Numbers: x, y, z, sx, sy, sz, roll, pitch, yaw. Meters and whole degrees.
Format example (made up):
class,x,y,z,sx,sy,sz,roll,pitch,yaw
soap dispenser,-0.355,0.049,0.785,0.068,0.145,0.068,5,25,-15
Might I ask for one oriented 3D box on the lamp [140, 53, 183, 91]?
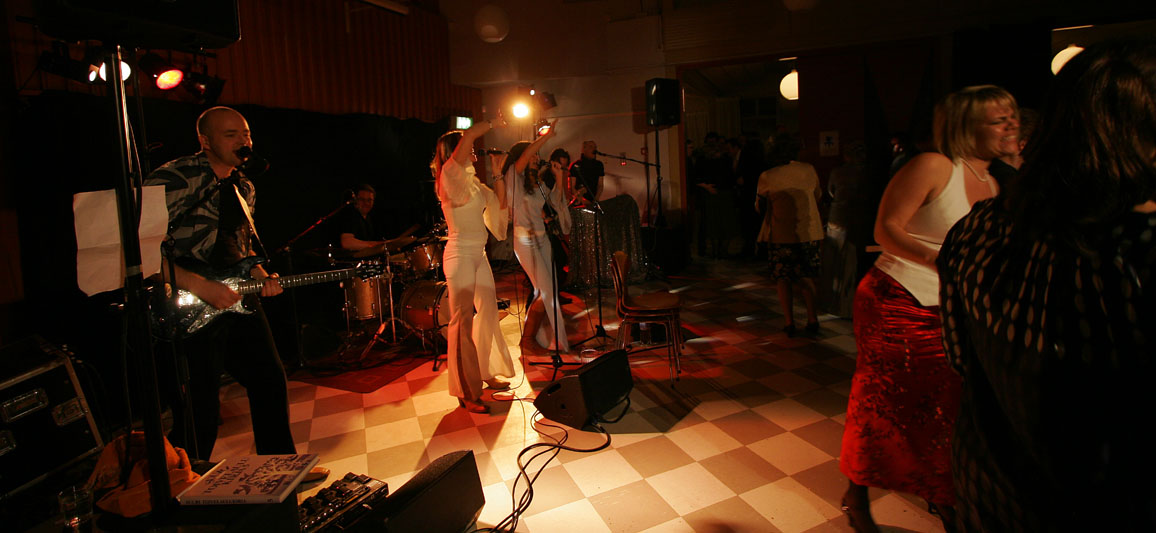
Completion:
class,x,y,z,sx,sy,sz,roll,pitch,yaw
lamp,-4.769,-2.260,8.409,0.447,0.386,0.240,-11,15,-20

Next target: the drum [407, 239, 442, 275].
class,x,y,z,sx,sy,sz,roll,pitch,yaw
drum,-2.067,-0.132,9.976,0.485,0.382,0.457,-3,-6,0

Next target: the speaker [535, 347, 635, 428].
class,x,y,z,sx,sy,sz,roll,pitch,yaw
speaker,0.156,1.430,8.525,0.957,0.696,1.165,4,2,31

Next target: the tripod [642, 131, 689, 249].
class,x,y,z,sx,sy,sz,roll,pitch,yaw
tripod,1.550,-1.391,13.126,0.702,2.187,0.851,0,16,23

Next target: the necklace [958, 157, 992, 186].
class,x,y,z,sx,sy,sz,roll,pitch,yaw
necklace,3.695,-0.870,6.904,0.237,0.066,0.279,-5,40,-48

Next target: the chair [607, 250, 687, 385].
class,x,y,z,sx,sy,sz,roll,pitch,yaw
chair,0.887,0.542,9.408,0.839,1.582,1.148,-5,14,5

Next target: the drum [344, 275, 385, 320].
class,x,y,z,sx,sy,sz,roll,pitch,yaw
drum,-2.880,0.427,10.069,0.666,0.543,0.624,-3,0,14

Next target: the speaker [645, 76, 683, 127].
class,x,y,z,sx,sy,sz,roll,pitch,yaw
speaker,1.356,-2.625,11.646,0.561,0.757,0.417,-5,15,4

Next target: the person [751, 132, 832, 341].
class,x,y,z,sx,sy,sz,roll,pitch,yaw
person,2.927,-0.439,10.112,0.839,2.713,0.979,-3,16,13
